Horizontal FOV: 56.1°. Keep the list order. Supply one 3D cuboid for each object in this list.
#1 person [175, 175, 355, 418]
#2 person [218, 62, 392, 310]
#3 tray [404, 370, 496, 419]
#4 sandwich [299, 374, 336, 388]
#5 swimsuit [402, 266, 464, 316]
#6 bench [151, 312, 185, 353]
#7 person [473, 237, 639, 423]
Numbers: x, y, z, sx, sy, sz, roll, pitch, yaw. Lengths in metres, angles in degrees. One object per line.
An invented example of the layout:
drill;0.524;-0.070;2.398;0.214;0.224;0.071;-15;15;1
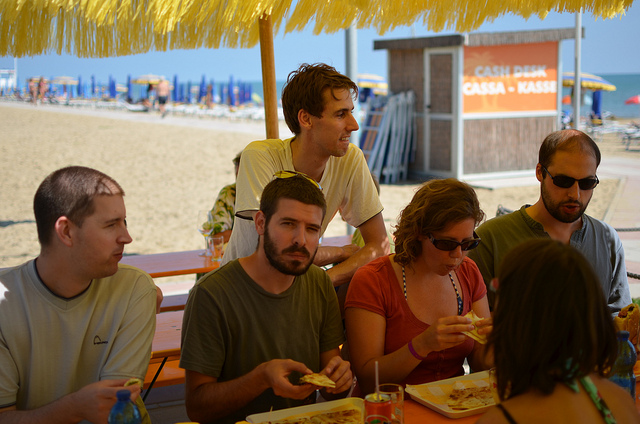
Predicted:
person;-0.323;0.502;3.602;1.062;1.419;0.579;-2;9;-15
person;-0.062;-0.140;4.547;1.112;1.890;1.218;-2;19;-22
tray;0.856;1.097;3.551;0.418;0.045;0.263;-2;5;-34
sandwich;-0.019;0.958;3.433;0.191;0.061;0.148;-2;9;-23
swimsuit;0.857;0.501;4.115;0.332;0.363;0.105;-5;-2;-10
bench;-1.267;0.988;4.889;0.297;0.108;0.436;8;5;-2
person;1.137;0.600;2.968;0.890;0.933;0.513;-5;7;-9
